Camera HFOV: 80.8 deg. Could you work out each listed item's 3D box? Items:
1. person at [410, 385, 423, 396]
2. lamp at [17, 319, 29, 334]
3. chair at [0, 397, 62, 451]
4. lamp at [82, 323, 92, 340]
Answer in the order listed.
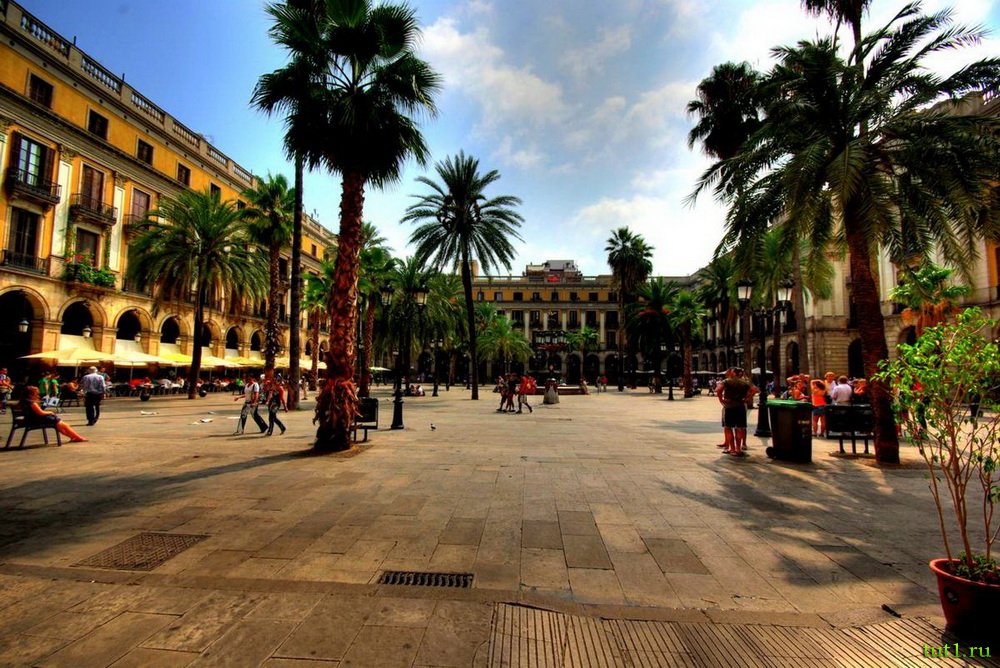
[{"bbox_3d":[-5.913,3.990,41.495,0.884,0.504,1.672,5,-8,-2],"label":"person"},{"bbox_3d":[-22.170,-0.371,27.465,0.574,0.632,0.574,4,-8,-24],"label":"lamp"},{"bbox_3d":[-12.731,2.491,16.018,1.594,1.811,1.310,0,-2,-31],"label":"chair"},{"bbox_3d":[-22.464,-0.087,32.179,0.416,0.697,0.902,-5,10,-31],"label":"lamp"}]
